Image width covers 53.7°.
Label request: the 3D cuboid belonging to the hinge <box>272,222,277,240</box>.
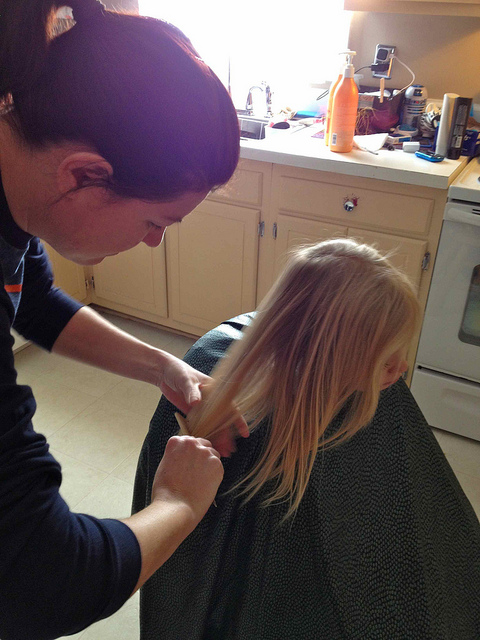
[{"bbox_3d":[0.146,-0.374,1.994,0.006,0.073,0.025,-20,33,-35],"label":"hinge"}]

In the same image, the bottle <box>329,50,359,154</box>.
[{"bbox_3d":[0.400,-0.822,1.842,0.098,0.308,0.133,4,27,8],"label":"bottle"}]

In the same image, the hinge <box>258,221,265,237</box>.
[{"bbox_3d":[0.090,-0.389,2.027,0.030,0.070,0.010,18,32,31],"label":"hinge"}]

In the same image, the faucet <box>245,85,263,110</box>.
[{"bbox_3d":[0.072,-1.110,2.368,0.079,0.105,0.173,5,27,8],"label":"faucet"}]

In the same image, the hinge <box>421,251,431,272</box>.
[{"bbox_3d":[0.676,-0.215,1.733,0.017,0.064,0.017,5,11,7],"label":"hinge"}]
